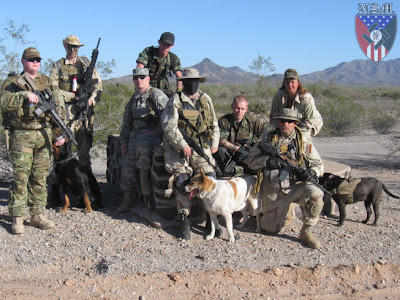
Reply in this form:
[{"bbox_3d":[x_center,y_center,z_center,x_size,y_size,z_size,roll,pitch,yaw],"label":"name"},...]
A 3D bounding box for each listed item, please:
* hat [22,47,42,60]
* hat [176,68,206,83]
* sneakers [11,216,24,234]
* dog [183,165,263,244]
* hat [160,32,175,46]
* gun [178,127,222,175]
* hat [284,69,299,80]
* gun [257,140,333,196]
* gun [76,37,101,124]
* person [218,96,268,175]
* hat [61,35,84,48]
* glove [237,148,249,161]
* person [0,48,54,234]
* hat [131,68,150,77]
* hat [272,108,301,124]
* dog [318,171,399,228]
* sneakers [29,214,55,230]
[{"bbox_3d":[-2.653,-1.555,5.485,0.257,0.189,0.643,-3,11,-27],"label":"hat"},{"bbox_3d":[-0.149,-1.348,6.175,0.486,0.253,0.428,1,10,-5],"label":"hat"},{"bbox_3d":[-3.061,1.275,5.861,0.134,0.175,0.376,0,6,-28],"label":"sneakers"},{"bbox_3d":[0.540,0.959,6.125,1.579,1.277,0.512,-4,6,-33],"label":"dog"},{"bbox_3d":[-0.781,-2.685,8.319,0.328,0.301,0.248,0,10,-10],"label":"hat"},{"bbox_3d":[-0.038,0.006,6.201,0.137,0.897,0.267,-41,17,-14],"label":"gun"},{"bbox_3d":[1.701,-1.432,6.511,0.259,0.192,0.198,4,10,14],"label":"hat"},{"bbox_3d":[1.595,0.339,6.049,1.506,0.624,0.186,40,11,10],"label":"gun"},{"bbox_3d":[-2.366,-1.476,7.393,0.503,1.767,0.425,-4,11,-28],"label":"gun"},{"bbox_3d":[0.826,-0.359,7.089,0.876,1.231,1.560,0,27,-7],"label":"person"},{"bbox_3d":[-2.623,-2.271,7.181,0.366,0.218,0.254,-1,10,-16],"label":"hat"},{"bbox_3d":[0.855,0.068,6.811,0.165,0.254,0.084,2,-12,29],"label":"glove"},{"bbox_3d":[-2.875,-0.153,5.857,0.769,3.091,0.728,-5,11,-36],"label":"person"},{"bbox_3d":[-1.141,-1.535,6.749,0.328,0.173,0.325,-2,11,-23],"label":"hat"},{"bbox_3d":[1.493,-0.602,5.978,0.419,0.240,0.357,2,10,-1],"label":"hat"},{"bbox_3d":[2.849,0.960,6.614,1.131,0.945,0.377,1,9,-2],"label":"dog"},{"bbox_3d":[-2.763,1.254,6.098,0.376,0.209,0.221,12,13,5],"label":"sneakers"}]
